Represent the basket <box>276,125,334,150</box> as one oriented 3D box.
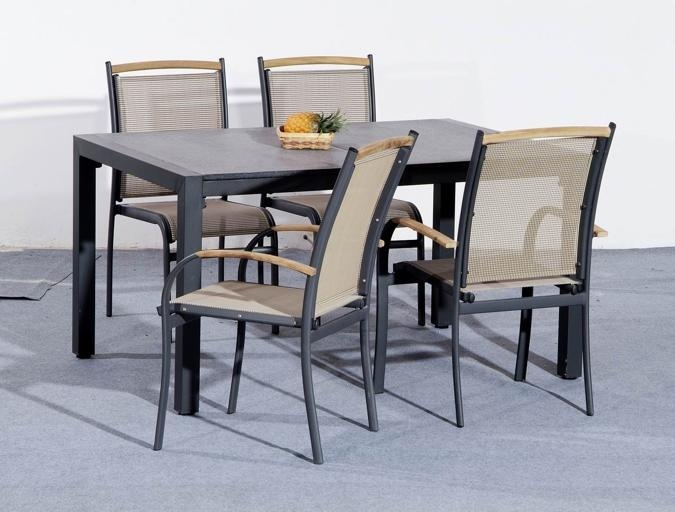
[{"bbox_3d":[-0.122,-0.473,2.599,0.179,0.043,0.171,0,4,-2],"label":"basket"}]
